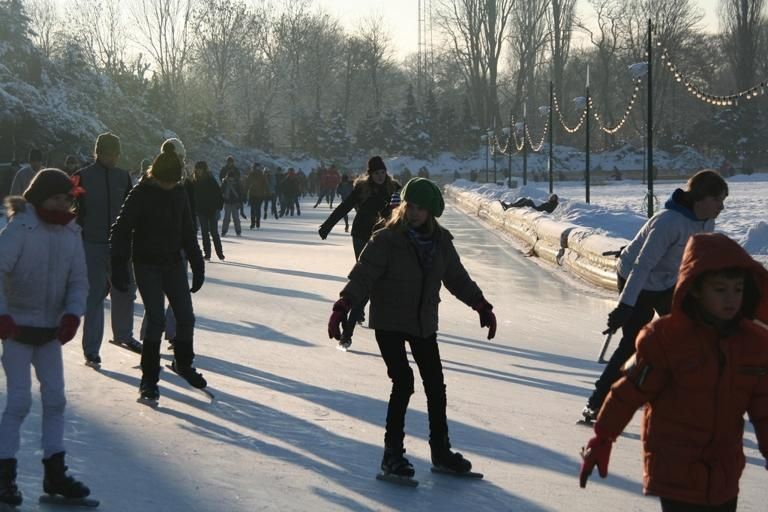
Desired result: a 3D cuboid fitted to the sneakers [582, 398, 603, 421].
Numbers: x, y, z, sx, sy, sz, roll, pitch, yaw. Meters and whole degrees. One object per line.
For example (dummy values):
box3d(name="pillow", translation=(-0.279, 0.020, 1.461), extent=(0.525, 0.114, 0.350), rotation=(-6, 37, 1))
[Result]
box3d(name="sneakers", translation=(1.881, 1.401, 8.333), extent=(0.125, 0.155, 0.353), rotation=(4, 8, 7))

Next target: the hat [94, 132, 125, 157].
box3d(name="hat", translation=(-2.996, -1.205, 9.906), extent=(0.253, 0.256, 0.263), rotation=(-1, 8, -23))

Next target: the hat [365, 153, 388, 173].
box3d(name="hat", translation=(-0.119, -1.107, 11.083), extent=(0.168, 0.190, 0.237), rotation=(-4, 12, 0))

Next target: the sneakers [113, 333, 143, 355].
box3d(name="sneakers", translation=(-2.927, 0.986, 10.352), extent=(0.430, 0.175, 0.164), rotation=(13, 2, 13))

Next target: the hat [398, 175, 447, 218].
box3d(name="hat", translation=(0.299, -0.468, 7.436), extent=(0.332, 0.326, 0.310), rotation=(2, 9, 1))

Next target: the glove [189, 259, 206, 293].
box3d(name="glove", translation=(-1.831, 0.185, 9.123), extent=(0.119, 0.338, 0.245), rotation=(4, 8, -36))

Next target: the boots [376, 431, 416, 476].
box3d(name="boots", translation=(0.096, 1.587, 7.366), extent=(0.295, 0.356, 0.223), rotation=(2, 9, 1))

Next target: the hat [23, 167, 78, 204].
box3d(name="hat", translation=(-2.610, -0.541, 7.127), extent=(0.292, 0.233, 0.291), rotation=(2, 13, 20))

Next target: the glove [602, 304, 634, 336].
box3d(name="glove", translation=(2.082, 0.572, 8.210), extent=(0.103, 0.285, 0.212), rotation=(23, 27, -50))

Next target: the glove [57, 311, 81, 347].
box3d(name="glove", translation=(-2.401, 0.550, 6.942), extent=(0.165, 0.220, 0.065), rotation=(28, -31, 0))

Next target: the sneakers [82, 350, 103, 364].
box3d(name="sneakers", translation=(-3.098, 1.062, 9.704), extent=(0.224, 0.097, 0.090), rotation=(7, 4, 16))

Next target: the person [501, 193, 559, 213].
box3d(name="person", translation=(4.202, -1.487, 26.341), extent=(1.758, 0.741, 0.672), rotation=(2, 16, 30))

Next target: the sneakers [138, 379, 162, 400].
box3d(name="sneakers", translation=(-2.259, 1.269, 8.749), extent=(0.134, 0.161, 0.363), rotation=(5, -9, -18))

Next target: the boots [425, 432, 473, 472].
box3d(name="boots", translation=(0.532, 1.587, 7.470), extent=(0.353, 0.318, 0.141), rotation=(2, 9, 2))
